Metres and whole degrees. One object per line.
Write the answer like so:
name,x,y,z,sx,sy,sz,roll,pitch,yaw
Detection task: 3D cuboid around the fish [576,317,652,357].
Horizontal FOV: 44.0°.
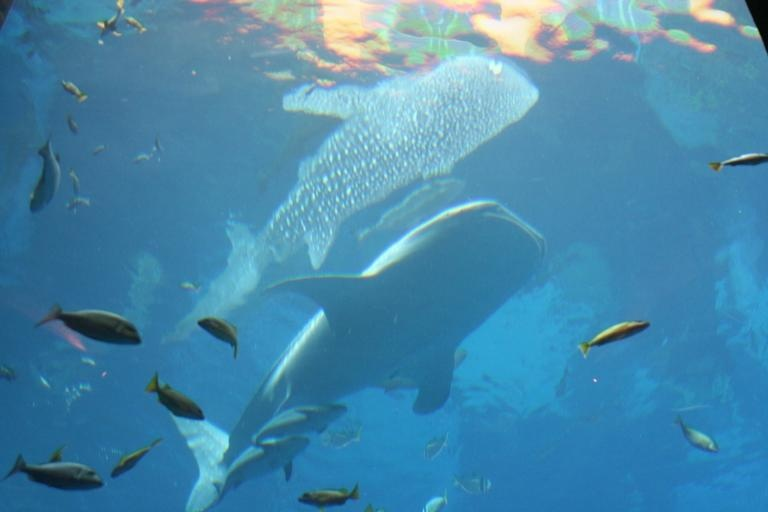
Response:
fish,5.085,1.746,20.922,1.317,0.542,0.405,-23,30,-2
